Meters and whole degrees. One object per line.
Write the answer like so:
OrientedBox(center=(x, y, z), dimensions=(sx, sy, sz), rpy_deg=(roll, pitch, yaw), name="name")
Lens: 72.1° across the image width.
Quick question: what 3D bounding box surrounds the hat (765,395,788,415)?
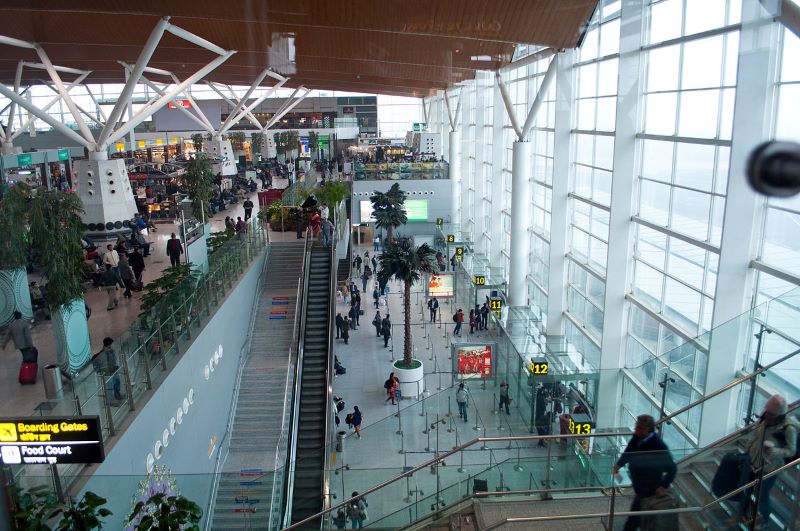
OrientedBox(center=(4.590, 1.680, 6.644), dimensions=(0.233, 0.179, 0.175), rpy_deg=(11, -2, -43), name="hat")
